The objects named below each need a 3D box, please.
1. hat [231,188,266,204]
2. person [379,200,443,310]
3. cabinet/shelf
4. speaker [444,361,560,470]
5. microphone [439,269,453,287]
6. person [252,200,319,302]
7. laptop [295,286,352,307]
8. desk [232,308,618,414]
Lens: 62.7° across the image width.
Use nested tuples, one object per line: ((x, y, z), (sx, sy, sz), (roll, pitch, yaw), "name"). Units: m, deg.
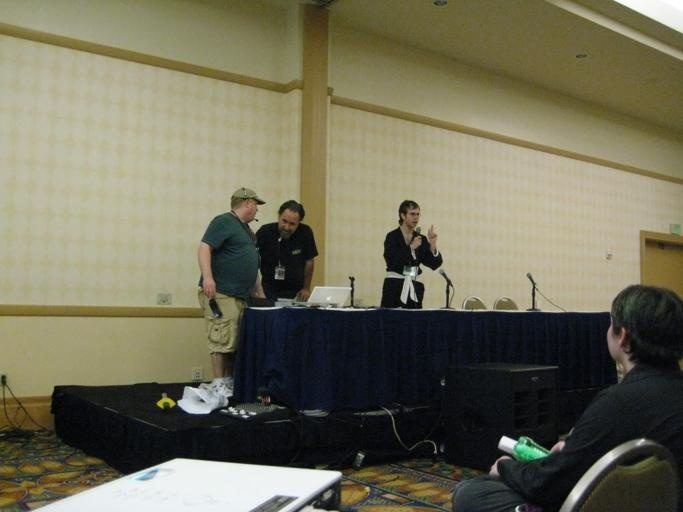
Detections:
((-0.727, -0.470, 4.428), (0.228, 0.105, 0.155), (6, -2, -31), "hat")
((0.683, -0.017, 5.152), (0.534, 0.996, 0.550), (3, -3, -17), "person")
((1.081, 1.062, 3.784), (0.573, 0.681, 0.716), (-4, -6, 39), "cabinet/shelf")
((1.077, 1.070, 3.787), (0.659, 0.684, 0.510), (5, -7, -42), "speaker")
((1.209, 0.269, 6.521), (0.073, 0.073, 0.262), (-21, 48, -18), "microphone")
((-0.541, 0.261, 5.117), (0.604, 1.542, 0.492), (1, 21, -10), "person")
((-0.106, 0.300, 4.052), (0.276, 0.146, 0.484), (1, -4, 21), "laptop")
((0.670, 0.755, 4.244), (2.576, 0.660, 0.612), (-6, -4, 28), "desk")
